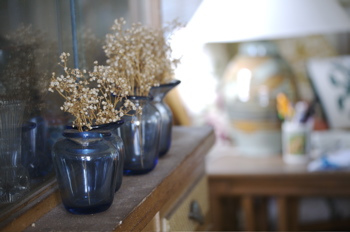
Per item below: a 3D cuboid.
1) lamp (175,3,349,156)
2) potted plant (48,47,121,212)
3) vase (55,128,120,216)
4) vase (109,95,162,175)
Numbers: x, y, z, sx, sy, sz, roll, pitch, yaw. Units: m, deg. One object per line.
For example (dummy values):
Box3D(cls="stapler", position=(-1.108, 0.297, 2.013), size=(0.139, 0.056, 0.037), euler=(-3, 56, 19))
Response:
Box3D(cls="lamp", position=(0.257, -0.123, 1.331), size=(0.539, 0.551, 0.530), euler=(-2, -3, -6))
Box3D(cls="potted plant", position=(-0.213, 0.023, 0.919), size=(0.205, 0.461, 0.195), euler=(11, 16, 15))
Box3D(cls="vase", position=(-0.240, 0.149, 0.922), size=(0.144, 0.190, 0.145), euler=(-5, 1, -7))
Box3D(cls="vase", position=(-0.120, 0.053, 1.164), size=(0.167, 0.263, 0.192), euler=(-1, 7, -2))
